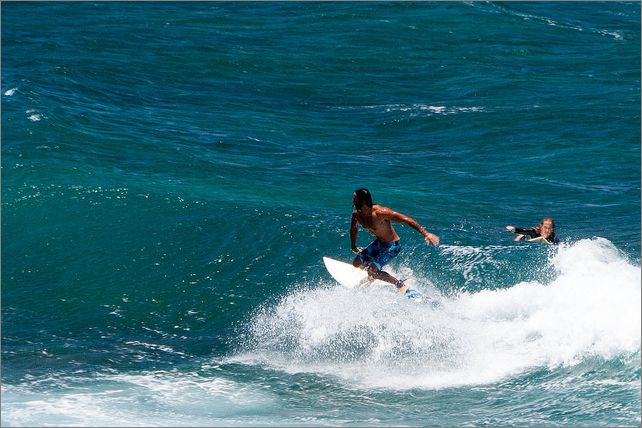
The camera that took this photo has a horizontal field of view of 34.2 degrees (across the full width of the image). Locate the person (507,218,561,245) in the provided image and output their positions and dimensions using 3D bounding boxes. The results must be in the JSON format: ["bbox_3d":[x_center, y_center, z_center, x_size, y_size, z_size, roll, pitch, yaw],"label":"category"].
[{"bbox_3d":[5.939,0.528,28.986,1.249,0.355,0.853,-8,43,6],"label":"person"}]

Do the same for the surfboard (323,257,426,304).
[{"bbox_3d":[1.205,1.646,27.144,4.081,0.667,0.525,9,-14,31],"label":"surfboard"}]
